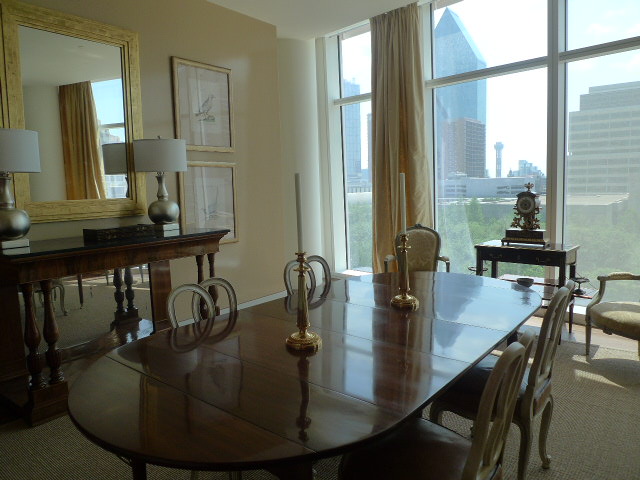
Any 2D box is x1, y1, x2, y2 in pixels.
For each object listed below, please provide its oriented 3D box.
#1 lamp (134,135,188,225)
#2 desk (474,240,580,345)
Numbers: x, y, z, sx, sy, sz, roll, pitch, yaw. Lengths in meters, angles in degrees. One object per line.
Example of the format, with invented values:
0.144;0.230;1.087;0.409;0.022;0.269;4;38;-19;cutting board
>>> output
-1.340;-0.459;4.044;0.514;0.749;0.520;-3;0;-28;lamp
1.960;0.412;4.591;0.746;0.755;0.466;1;4;35;desk
